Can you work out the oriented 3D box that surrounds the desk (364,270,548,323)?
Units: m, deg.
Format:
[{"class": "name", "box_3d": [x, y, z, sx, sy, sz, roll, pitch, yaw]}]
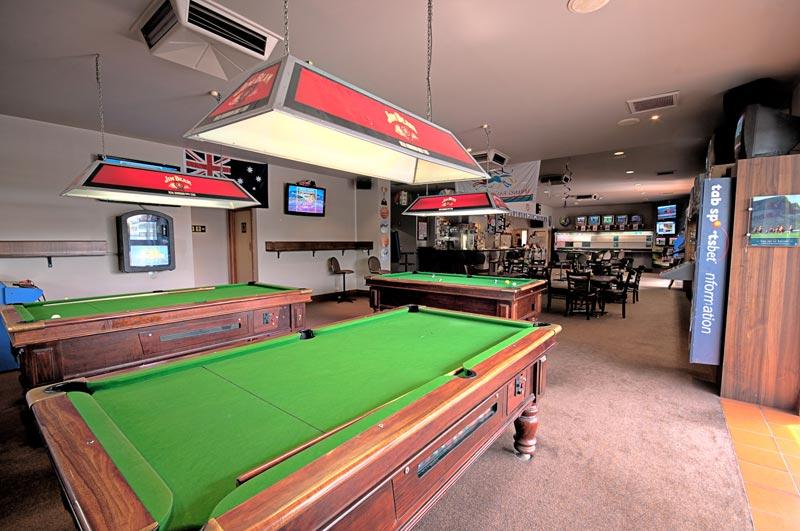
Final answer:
[{"class": "desk", "box_3d": [0.733, 0.423, 6.542, 2.658, 0.573, 1.900, 4, 6, 27]}]

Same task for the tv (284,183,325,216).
[{"class": "tv", "box_3d": [-2.023, -1.378, 10.193, 0.233, 0.649, 0.980, 1, 3, 42]}]

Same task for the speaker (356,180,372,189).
[{"class": "speaker", "box_3d": [-0.857, -1.886, 11.141, 0.282, 0.169, 0.245, 3, 9, 15]}]

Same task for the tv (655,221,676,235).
[{"class": "tv", "box_3d": [9.705, -1.365, 17.620, 0.363, 0.568, 0.881, -3, 3, -19]}]
